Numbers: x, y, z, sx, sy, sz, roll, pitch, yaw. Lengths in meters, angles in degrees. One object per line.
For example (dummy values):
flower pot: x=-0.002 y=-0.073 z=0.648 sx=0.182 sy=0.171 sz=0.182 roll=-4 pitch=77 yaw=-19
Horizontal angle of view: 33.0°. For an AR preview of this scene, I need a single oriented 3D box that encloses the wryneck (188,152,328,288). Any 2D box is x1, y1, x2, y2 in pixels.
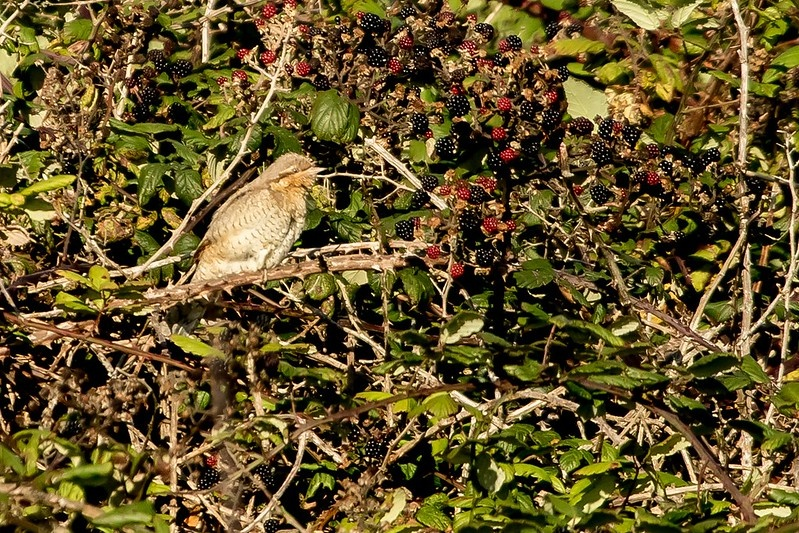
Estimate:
wryneck: x=-0.909 y=-0.279 z=8.294 sx=1.026 sy=0.519 sz=0.801 roll=-3 pitch=95 yaw=16
